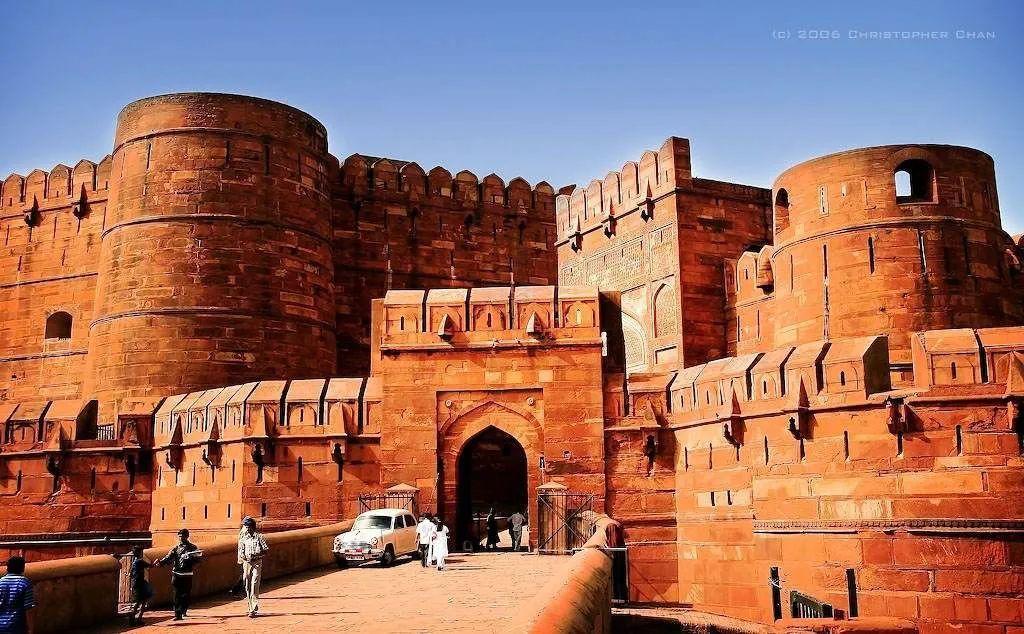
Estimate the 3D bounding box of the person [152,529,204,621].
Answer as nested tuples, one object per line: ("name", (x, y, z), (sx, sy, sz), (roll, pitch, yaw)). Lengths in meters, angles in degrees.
("person", (-5.331, 4.097, 16.687), (0.635, 1.402, 1.134), (4, -17, -17))
